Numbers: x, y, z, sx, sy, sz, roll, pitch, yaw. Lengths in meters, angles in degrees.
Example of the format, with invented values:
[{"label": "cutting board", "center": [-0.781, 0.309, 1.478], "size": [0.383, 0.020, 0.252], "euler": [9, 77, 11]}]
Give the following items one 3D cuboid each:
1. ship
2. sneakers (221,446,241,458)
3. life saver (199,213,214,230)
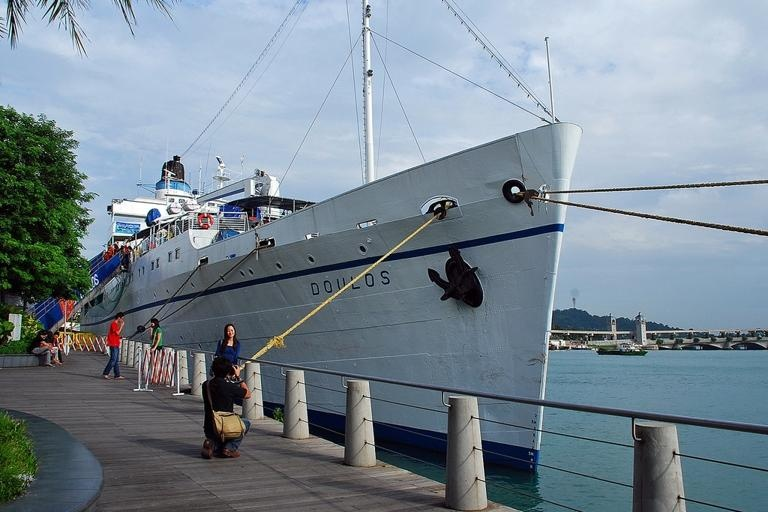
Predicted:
[{"label": "ship", "center": [-3.214, -1.276, 17.994], "size": [3.717, 11.546, 18.049], "euler": [7, -4, -42]}, {"label": "sneakers", "center": [-2.511, 3.200, 9.588], "size": [0.339, 0.133, 0.126], "euler": [6, -5, -38]}, {"label": "life saver", "center": [-5.879, -1.203, 19.320], "size": [0.470, 0.474, 0.165], "euler": [4, -20, -21]}]
